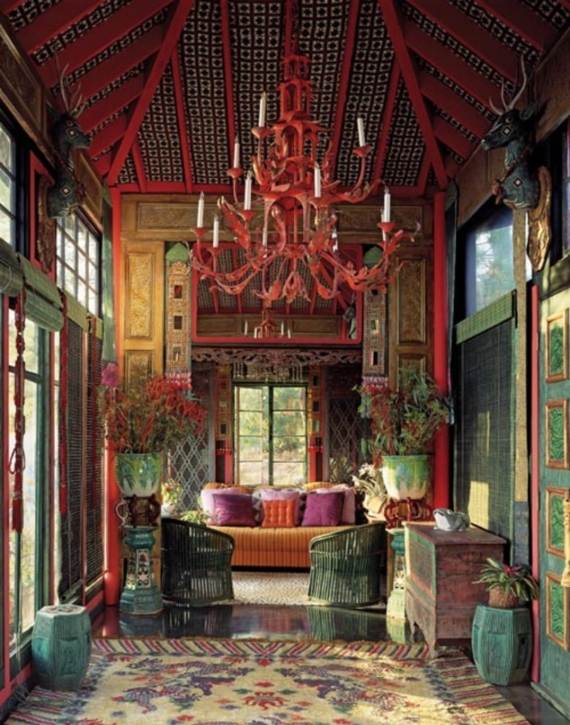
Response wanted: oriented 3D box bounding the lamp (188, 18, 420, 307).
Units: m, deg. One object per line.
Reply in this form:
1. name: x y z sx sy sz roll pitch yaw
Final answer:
1. lamp: 0.062 -1.251 3.933 1.248 1.719 1.209 0 2 -15

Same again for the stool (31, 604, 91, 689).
1. stool: -1.283 1.633 3.777 0.317 0.415 0.331 -3 -8 37

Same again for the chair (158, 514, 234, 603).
1. chair: -0.856 1.932 6.360 0.670 0.814 0.581 -12 -12 38

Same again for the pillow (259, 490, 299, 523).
1. pillow: -0.060 1.903 8.579 0.422 0.401 0.110 0 -22 0

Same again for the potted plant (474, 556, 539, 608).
1. potted plant: 1.324 1.311 3.893 0.318 0.251 0.250 -2 -9 16

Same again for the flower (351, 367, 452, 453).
1. flower: 1.157 0.499 6.534 0.828 0.875 0.450 -9 -18 28

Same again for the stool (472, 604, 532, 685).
1. stool: 1.267 1.660 3.875 0.363 0.369 0.340 -3 -14 28

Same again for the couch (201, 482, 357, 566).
1. couch: -0.412 2.239 8.690 2.604 1.062 0.866 -11 -19 35

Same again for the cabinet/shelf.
1. cabinet/shelf: 1.139 1.576 4.678 0.402 0.696 1.271 3 -10 2

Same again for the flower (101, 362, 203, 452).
1. flower: -1.362 0.442 6.413 1.175 0.895 0.750 7 -11 -36

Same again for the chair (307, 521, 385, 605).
1. chair: 0.605 1.825 6.315 0.708 0.795 0.732 2 -1 -31

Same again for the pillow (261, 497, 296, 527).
1. pillow: -0.077 1.940 8.479 0.365 0.335 0.094 -1 -17 -6

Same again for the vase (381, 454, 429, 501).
1. vase: 1.063 1.076 6.180 0.419 0.467 0.412 5 -10 -31

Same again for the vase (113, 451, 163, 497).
1. vase: -1.331 1.011 5.928 0.405 0.373 0.375 2 -9 -12
